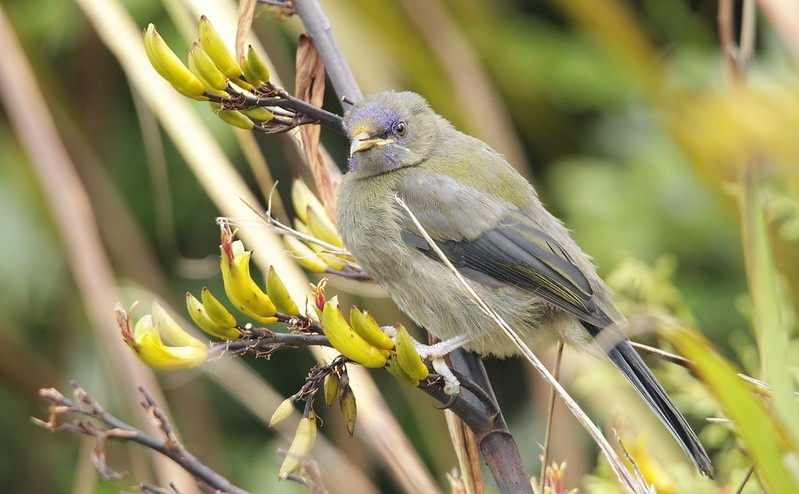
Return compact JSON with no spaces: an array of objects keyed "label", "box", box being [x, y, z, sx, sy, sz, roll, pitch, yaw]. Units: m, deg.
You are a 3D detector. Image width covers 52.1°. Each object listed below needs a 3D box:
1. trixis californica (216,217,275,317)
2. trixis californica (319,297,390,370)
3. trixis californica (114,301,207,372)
[{"label":"trixis californica","box":[-0.735,0.109,3.833,0.198,0.459,0.364,-16,24,-13]},{"label":"trixis californica","box":[-0.228,0.403,3.765,0.228,0.154,0.483,-4,35,-39]},{"label":"trixis californica","box":[-1.044,0.435,3.699,0.442,0.261,0.296,7,32,-12]}]
